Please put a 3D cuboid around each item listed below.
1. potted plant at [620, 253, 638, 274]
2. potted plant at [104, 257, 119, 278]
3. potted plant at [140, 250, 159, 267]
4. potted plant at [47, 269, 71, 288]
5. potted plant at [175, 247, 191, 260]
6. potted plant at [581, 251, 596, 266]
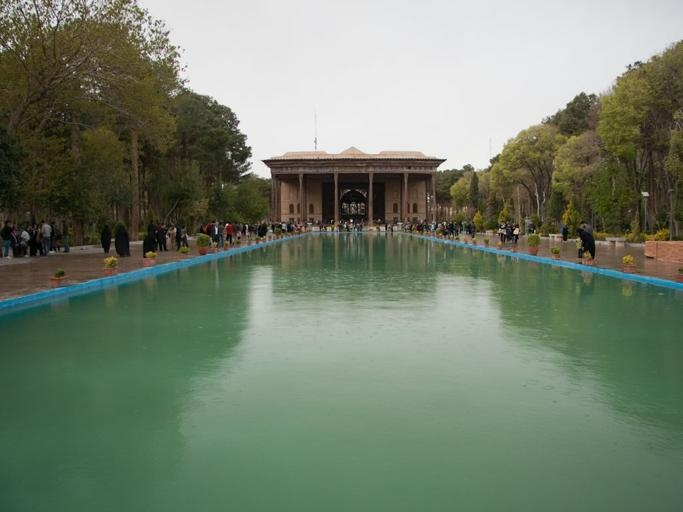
[{"bbox_3d":[10.516,0.277,19.614,0.474,0.694,0.427,-2,2,-24],"label":"potted plant"},{"bbox_3d":[-7.452,0.371,17.354,0.449,0.709,0.505,3,4,38],"label":"potted plant"},{"bbox_3d":[-7.367,0.102,20.553,0.681,0.842,0.559,-1,3,-24],"label":"potted plant"},{"bbox_3d":[-7.572,0.581,14.250,0.353,0.431,0.578,0,6,-3],"label":"potted plant"},{"bbox_3d":[-7.455,-0.122,25.195,0.485,0.585,0.539,1,3,20],"label":"potted plant"},{"bbox_3d":[9.564,0.120,20.797,0.553,0.891,0.483,-4,4,-39],"label":"potted plant"}]
